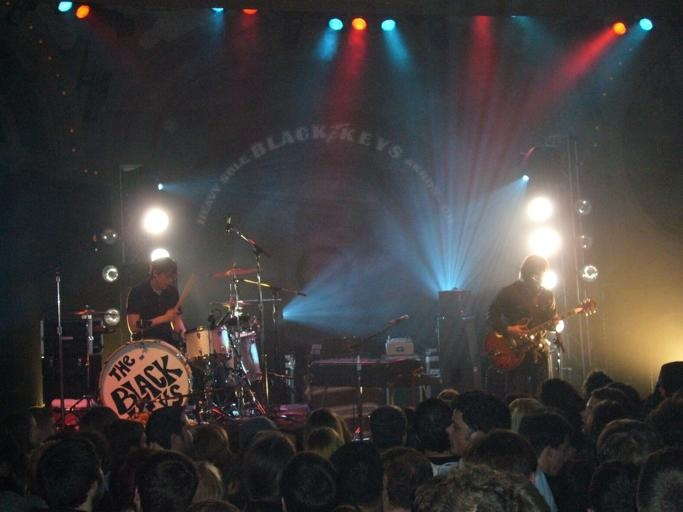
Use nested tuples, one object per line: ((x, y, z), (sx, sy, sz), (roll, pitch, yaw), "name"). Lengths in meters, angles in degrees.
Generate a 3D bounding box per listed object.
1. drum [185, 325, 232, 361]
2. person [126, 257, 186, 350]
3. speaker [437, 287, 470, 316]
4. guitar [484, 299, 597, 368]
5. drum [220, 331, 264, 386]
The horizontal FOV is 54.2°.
((-1.743, 1.152, 8.777), (0.583, 0.350, 0.586), (-7, -11, -1), "drum")
((-2.464, 0.573, 8.913), (0.737, 1.273, 0.843), (-2, -19, -4), "person")
((1.617, 0.659, 9.721), (0.479, 0.358, 0.476), (-1, 4, 6), "speaker")
((2.648, 1.054, 8.928), (0.955, 0.353, 0.132), (-29, -3, -1), "guitar")
((-1.341, 1.383, 9.158), (0.632, 0.901, 0.634), (-2, -8, 0), "drum")
